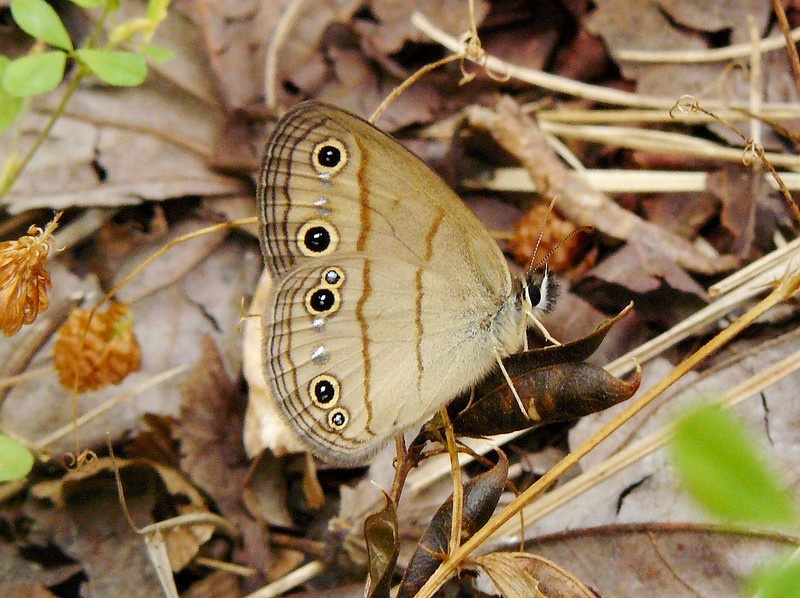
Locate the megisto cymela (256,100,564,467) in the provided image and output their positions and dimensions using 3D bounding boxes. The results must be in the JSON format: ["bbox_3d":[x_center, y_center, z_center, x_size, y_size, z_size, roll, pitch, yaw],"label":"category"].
[{"bbox_3d":[-0.215,-0.095,4.397,1.307,1.194,2.055,-7,93,-21],"label":"megisto cymela"}]
